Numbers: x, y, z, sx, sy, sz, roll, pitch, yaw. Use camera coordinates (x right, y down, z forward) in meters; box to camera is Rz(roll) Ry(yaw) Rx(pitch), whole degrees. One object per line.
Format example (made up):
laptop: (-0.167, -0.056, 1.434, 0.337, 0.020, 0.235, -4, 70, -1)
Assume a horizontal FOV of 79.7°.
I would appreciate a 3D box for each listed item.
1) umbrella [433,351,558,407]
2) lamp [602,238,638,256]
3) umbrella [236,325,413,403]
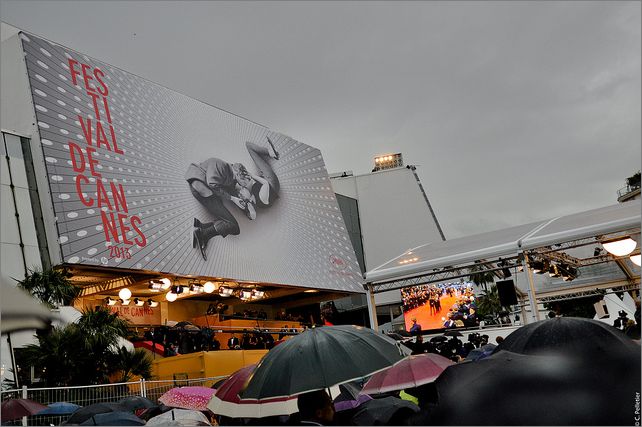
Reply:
umbrella: (1.022, 0.980, 2.367, 0.684, 0.181, 0.230, -13, -18, 1)
lamp: (8.480, 0.912, 10.801, 0.626, 0.152, 0.655, 11, -14, 7)
umbrella: (0.003, 1.747, 4.742, 1.974, 0.689, 0.848, -8, -18, -13)
